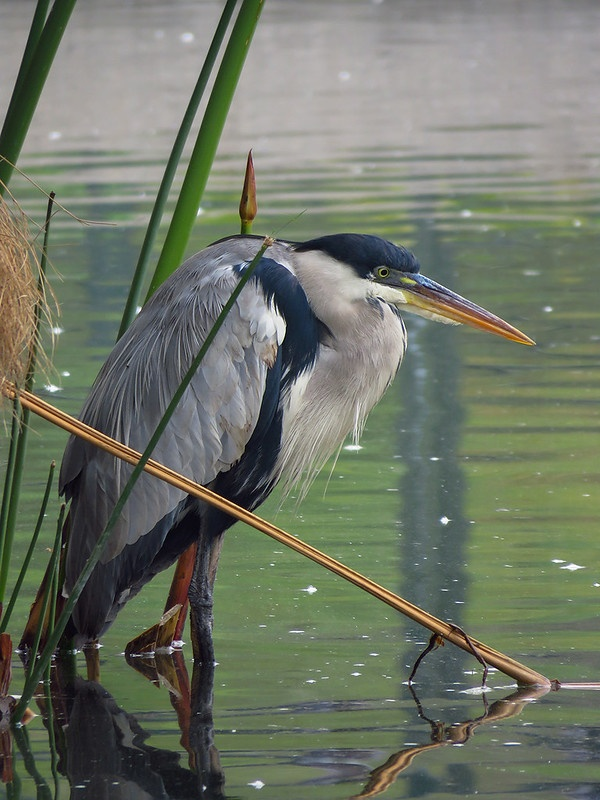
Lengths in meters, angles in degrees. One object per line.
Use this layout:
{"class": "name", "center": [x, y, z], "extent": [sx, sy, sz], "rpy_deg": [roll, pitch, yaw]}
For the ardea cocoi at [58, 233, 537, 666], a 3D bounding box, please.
{"class": "ardea cocoi", "center": [-0.161, 0.078, 2.927], "extent": [1.037, 0.989, 0.471], "rpy_deg": [-13, 17, -38]}
